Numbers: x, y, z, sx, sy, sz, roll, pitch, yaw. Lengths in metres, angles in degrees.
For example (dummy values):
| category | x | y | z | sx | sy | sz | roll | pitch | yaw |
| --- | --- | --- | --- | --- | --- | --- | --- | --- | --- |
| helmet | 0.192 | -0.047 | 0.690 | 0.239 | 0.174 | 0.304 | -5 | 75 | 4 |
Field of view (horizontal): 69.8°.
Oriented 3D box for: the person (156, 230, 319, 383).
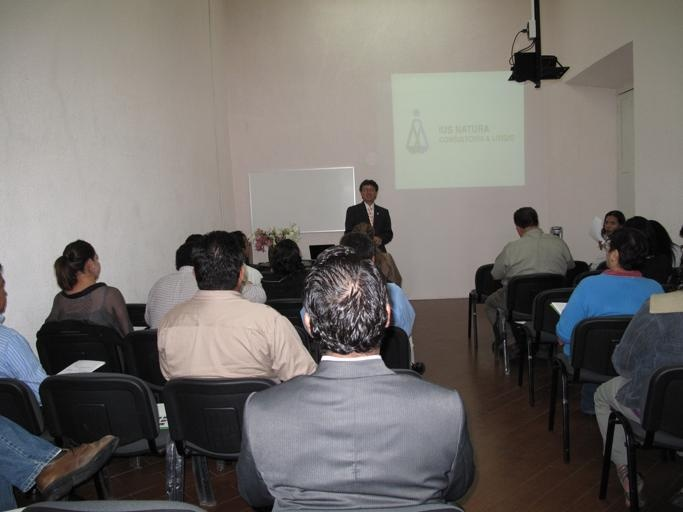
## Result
| category | x | y | z | sx | sy | sz | roll | pitch | yaw |
| --- | --- | --- | --- | --- | --- | --- | --- | --- | --- |
| person | -0.604 | 0.257 | 2.586 | 0.870 | 0.867 | 0.483 | 8 | 22 | 2 |

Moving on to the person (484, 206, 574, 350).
| category | x | y | z | sx | sy | sz | roll | pitch | yaw |
| --- | --- | --- | --- | --- | --- | --- | --- | --- | --- |
| person | 2.090 | 0.269 | 5.361 | 1.002 | 1.711 | 1.056 | -1 | 12 | 40 |

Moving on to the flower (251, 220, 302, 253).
| category | x | y | z | sx | sy | sz | roll | pitch | yaw |
| --- | --- | --- | --- | --- | --- | --- | --- | --- | --- |
| flower | -0.848 | -0.244 | 6.121 | 0.549 | 0.395 | 0.601 | -2 | 5 | -12 |

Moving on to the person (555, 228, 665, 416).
| category | x | y | z | sx | sy | sz | roll | pitch | yaw |
| --- | --- | --- | --- | --- | --- | --- | --- | --- | --- |
| person | 1.764 | 0.442 | 3.390 | 0.625 | 1.333 | 0.614 | -10 | 23 | -21 |

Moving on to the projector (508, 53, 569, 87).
| category | x | y | z | sx | sy | sz | roll | pitch | yaw |
| --- | --- | --- | --- | --- | --- | --- | --- | --- | --- |
| projector | 2.172 | -2.133 | 5.524 | 0.579 | 0.348 | 0.453 | 7 | 14 | 27 |

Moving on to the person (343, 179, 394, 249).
| category | x | y | z | sx | sy | sz | roll | pitch | yaw |
| --- | --- | --- | --- | --- | --- | --- | --- | --- | --- |
| person | 0.370 | -0.282 | 6.878 | 0.540 | 1.578 | 0.480 | 0 | 0 | -5 |

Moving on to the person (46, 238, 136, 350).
| category | x | y | z | sx | sy | sz | roll | pitch | yaw |
| --- | --- | --- | --- | --- | --- | --- | --- | --- | --- |
| person | -1.804 | 0.293 | 3.436 | 0.593 | 0.781 | 0.414 | -2 | 21 | -15 |
